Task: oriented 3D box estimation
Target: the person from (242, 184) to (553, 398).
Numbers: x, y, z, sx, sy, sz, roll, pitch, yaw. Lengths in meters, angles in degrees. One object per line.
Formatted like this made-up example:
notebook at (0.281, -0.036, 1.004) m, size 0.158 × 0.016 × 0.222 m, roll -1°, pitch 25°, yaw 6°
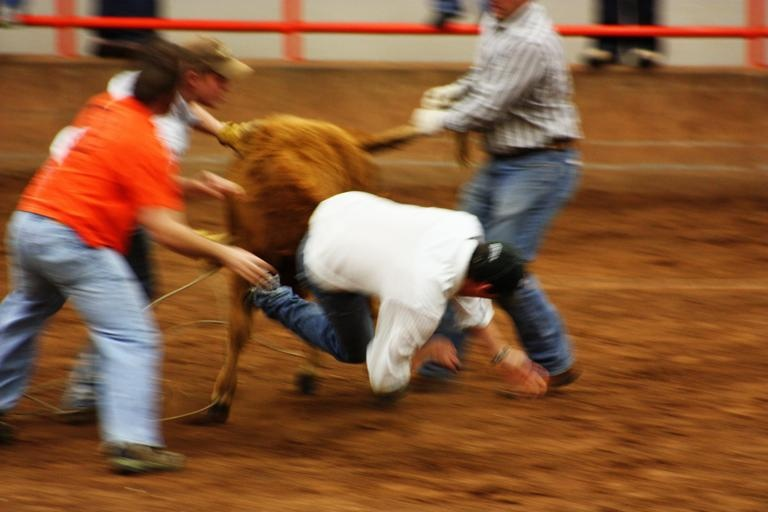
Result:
person at (0.014, 0.192, 3.869) m, size 1.842 × 0.786 × 0.779 m, roll 19°, pitch 55°, yaw 10°

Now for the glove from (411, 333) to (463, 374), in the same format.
glove at (0.283, 0.522, 4.142) m, size 0.272 × 0.187 × 0.086 m, roll 7°, pitch -18°, yaw 31°

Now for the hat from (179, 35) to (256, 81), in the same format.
hat at (-0.903, -1.024, 4.058) m, size 0.420 × 0.103 × 0.207 m, roll 8°, pitch 23°, yaw -18°

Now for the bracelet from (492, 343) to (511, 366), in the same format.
bracelet at (0.634, 0.542, 4.254) m, size 0.042 × 0.121 × 0.103 m, roll 53°, pitch 23°, yaw 1°

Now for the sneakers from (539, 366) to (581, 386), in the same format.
sneakers at (0.999, 0.684, 4.387) m, size 0.168 × 0.039 × 0.146 m, roll -6°, pitch 6°, yaw 28°
